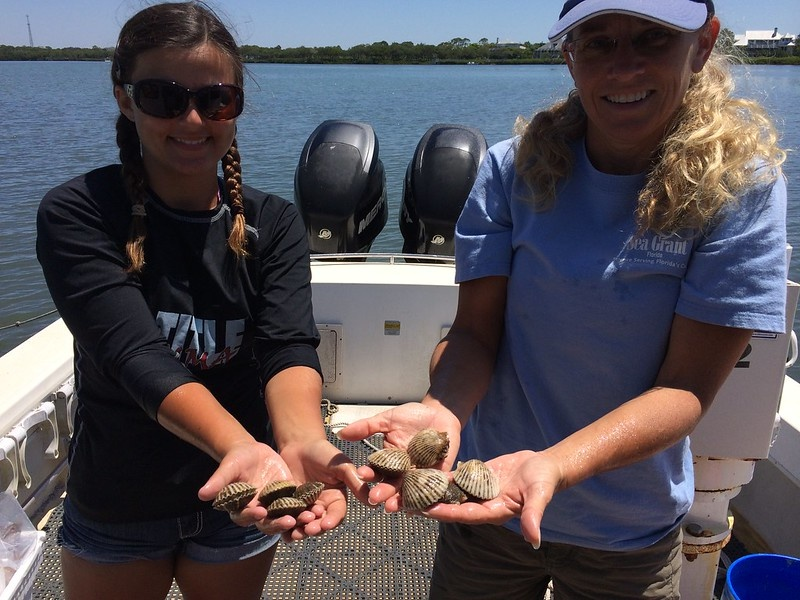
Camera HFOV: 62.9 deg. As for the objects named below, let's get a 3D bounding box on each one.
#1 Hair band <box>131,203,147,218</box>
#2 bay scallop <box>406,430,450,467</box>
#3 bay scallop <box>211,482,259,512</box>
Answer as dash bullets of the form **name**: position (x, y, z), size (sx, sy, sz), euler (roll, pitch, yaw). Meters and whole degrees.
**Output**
- **Hair band**: position (-0.893, -0.307, 2.229), size (0.040, 0.031, 0.041), euler (3, -8, -39)
- **bay scallop**: position (0.091, 0.506, 2.152), size (0.139, 0.129, 0.096), euler (3, 21, 4)
- **bay scallop**: position (-0.508, 0.607, 2.021), size (0.132, 0.104, 0.083), euler (-8, 23, -24)
